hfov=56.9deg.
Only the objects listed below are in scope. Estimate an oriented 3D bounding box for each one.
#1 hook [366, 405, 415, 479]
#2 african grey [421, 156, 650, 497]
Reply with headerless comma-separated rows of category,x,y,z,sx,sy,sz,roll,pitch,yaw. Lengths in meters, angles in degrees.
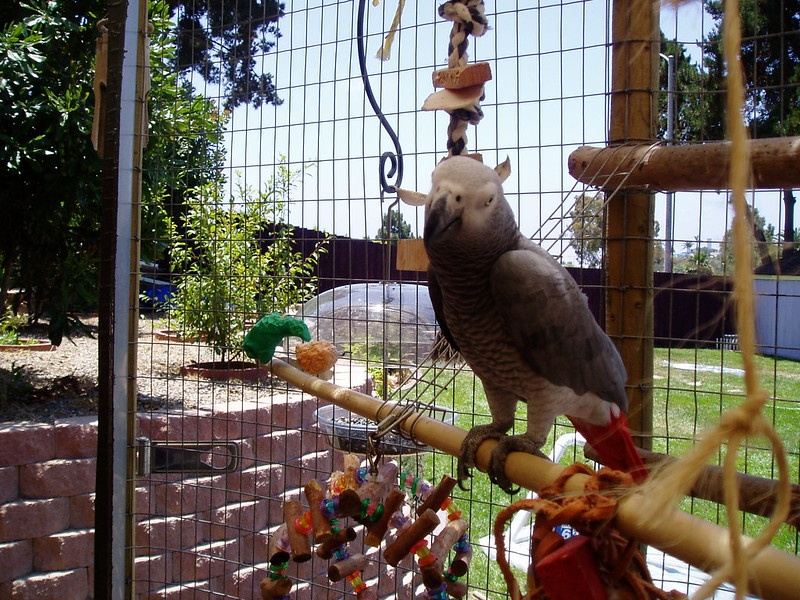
hook,-0.047,0.318,1.686,0.132,0.151,0.128,2,0,-42
african grey,0.345,0.072,1.846,0.698,0.880,0.352,-4,10,-28
